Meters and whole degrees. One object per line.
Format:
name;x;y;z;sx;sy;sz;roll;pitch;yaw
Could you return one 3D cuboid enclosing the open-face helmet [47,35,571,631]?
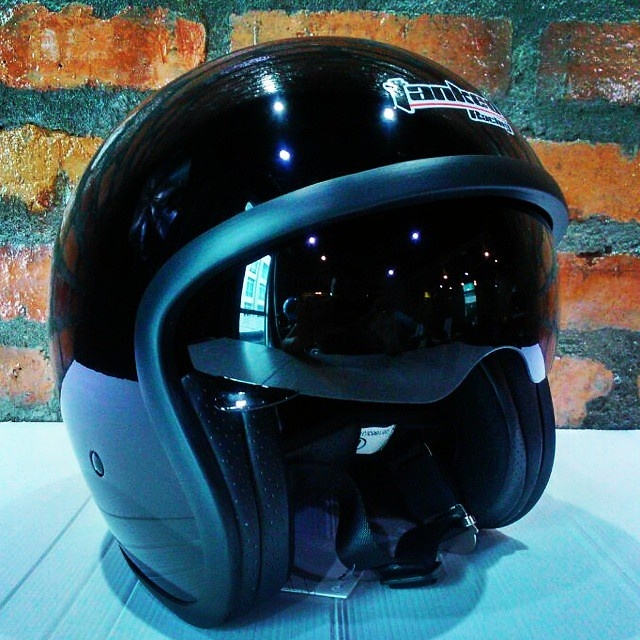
open-face helmet;-0.030;-0.009;0.653;0.451;0.505;0.454;-5;-1;7
